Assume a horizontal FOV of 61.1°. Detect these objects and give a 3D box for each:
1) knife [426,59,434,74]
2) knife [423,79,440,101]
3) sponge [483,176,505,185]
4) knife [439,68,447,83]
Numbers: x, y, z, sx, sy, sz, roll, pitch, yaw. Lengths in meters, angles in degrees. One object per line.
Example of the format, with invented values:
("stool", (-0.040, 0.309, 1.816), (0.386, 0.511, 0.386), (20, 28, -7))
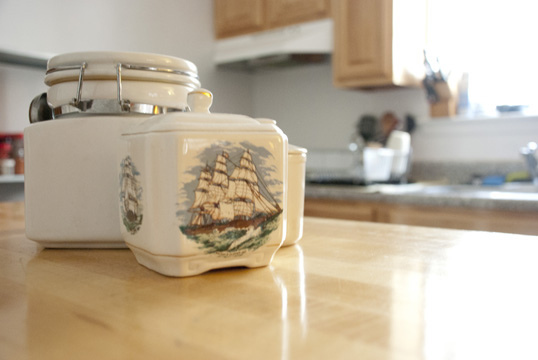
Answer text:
("knife", (0.810, -0.568, 2.295), (0.015, 0.060, 0.053), (-4, 7, -22))
("knife", (0.841, -0.466, 2.379), (0.077, 0.114, 0.082), (2, 7, 27))
("sponge", (1.059, 0.002, 2.150), (0.084, 0.035, 0.086), (2, 7, 28))
("knife", (0.852, -0.507, 2.234), (0.030, 0.065, 0.043), (4, 8, 40))
